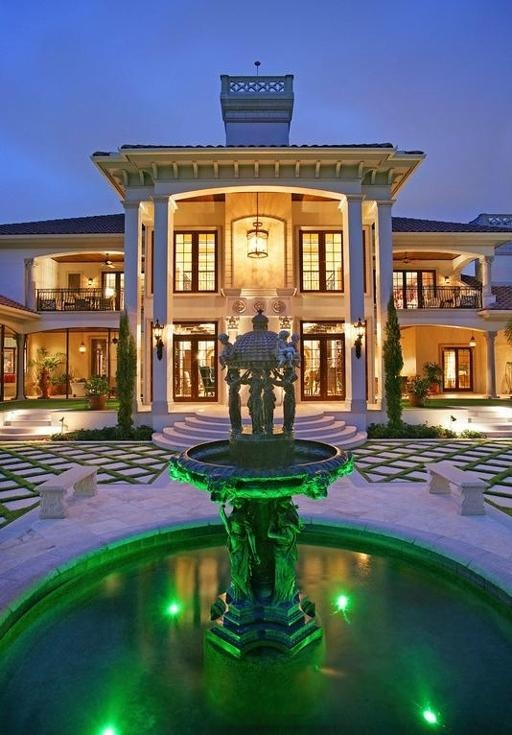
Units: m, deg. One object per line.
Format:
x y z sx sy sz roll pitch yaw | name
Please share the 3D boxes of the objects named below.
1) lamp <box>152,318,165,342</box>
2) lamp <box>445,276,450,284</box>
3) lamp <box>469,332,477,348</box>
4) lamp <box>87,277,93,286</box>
-2.236 -0.852 12.816 0.233 0.514 0.232 -2 5 -6 | lamp
7.424 -3.376 21.401 0.244 0.311 0.067 -1 4 8 | lamp
8.485 -0.984 21.671 0.318 0.520 0.822 0 6 21 | lamp
-6.629 -3.450 22.235 0.305 0.386 0.088 -1 4 8 | lamp
